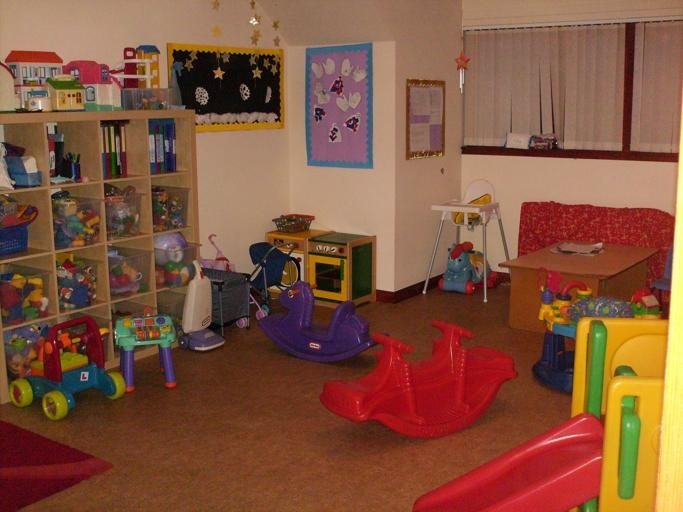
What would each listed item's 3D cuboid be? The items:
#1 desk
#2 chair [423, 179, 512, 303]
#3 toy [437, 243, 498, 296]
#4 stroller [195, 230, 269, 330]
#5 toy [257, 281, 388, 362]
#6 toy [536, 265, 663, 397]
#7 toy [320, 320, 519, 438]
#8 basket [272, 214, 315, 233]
[{"bbox_3d":[2.286,0.282,5.314,0.975,0.656,1.533,8,17,36],"label":"desk"},{"bbox_3d":[1.510,-0.229,6.287,0.870,1.204,0.815,-12,15,-37],"label":"chair"},{"bbox_3d":[1.452,0.198,6.184,0.545,0.449,0.584,-3,-4,20],"label":"toy"},{"bbox_3d":[-1.112,0.309,5.303,0.572,0.864,0.892,-14,-9,-24],"label":"stroller"},{"bbox_3d":[-0.204,0.622,4.359,0.671,0.436,0.704,12,8,29],"label":"toy"},{"bbox_3d":[1.919,0.501,4.084,0.926,1.020,1.043,2,8,28],"label":"toy"},{"bbox_3d":[0.544,0.809,3.483,1.293,0.673,0.464,-8,4,-25],"label":"toy"},{"bbox_3d":[-0.530,-0.375,6.035,0.473,0.167,0.369,-11,18,-36],"label":"basket"}]
